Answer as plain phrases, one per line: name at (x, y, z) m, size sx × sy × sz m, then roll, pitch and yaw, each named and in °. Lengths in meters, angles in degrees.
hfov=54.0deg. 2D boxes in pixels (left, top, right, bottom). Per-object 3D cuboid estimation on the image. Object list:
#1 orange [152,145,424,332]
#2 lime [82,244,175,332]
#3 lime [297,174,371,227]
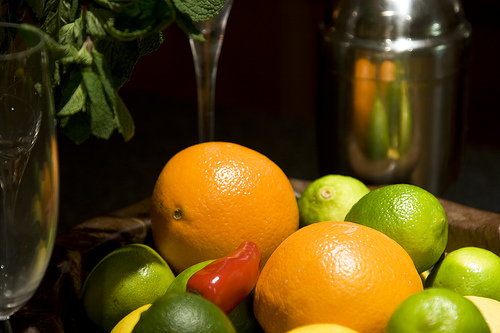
orange at (0.022, 0.064, 0.524) m, size 0.269 × 0.135 × 0.143 m, roll 36°, pitch 42°, yaw 30°
lime at (-0.129, 0.124, 0.574) m, size 0.101 × 0.085 × 0.096 m, roll -6°, pitch 19°, yaw -2°
lime at (0.095, 0.038, 0.595) m, size 0.065 × 0.070 × 0.087 m, roll -3°, pitch 16°, yaw -6°
